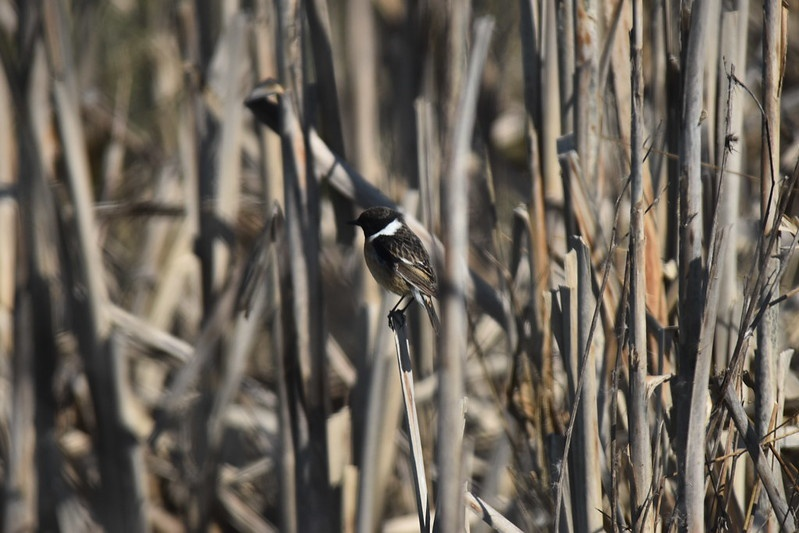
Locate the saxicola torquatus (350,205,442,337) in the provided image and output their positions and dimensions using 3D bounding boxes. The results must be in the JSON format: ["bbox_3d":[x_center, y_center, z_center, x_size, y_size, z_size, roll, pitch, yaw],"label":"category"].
[{"bbox_3d":[-0.018,0.009,6.939,0.267,0.382,0.193,-1,8,-3],"label":"saxicola torquatus"}]
